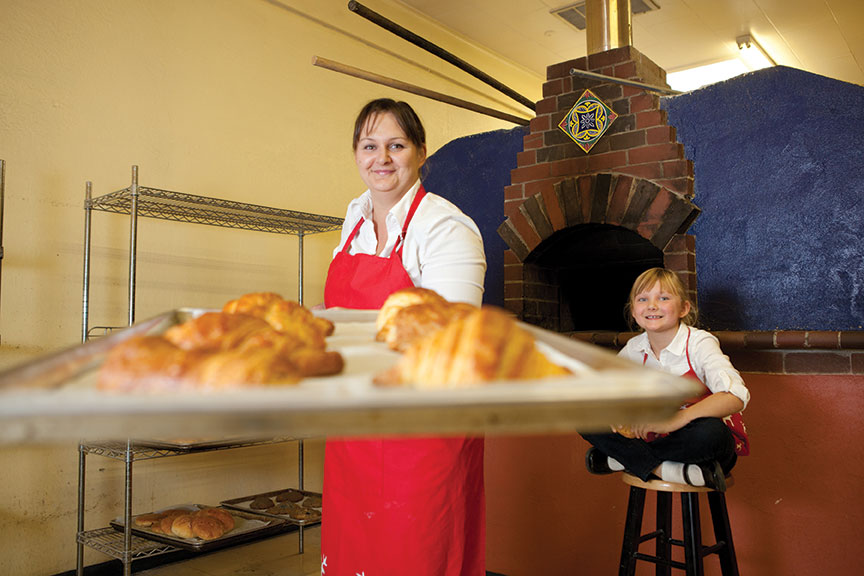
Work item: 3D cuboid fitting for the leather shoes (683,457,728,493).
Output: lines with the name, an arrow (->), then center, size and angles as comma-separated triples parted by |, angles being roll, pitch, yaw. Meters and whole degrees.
leather shoes -> 0.905, 0.620, 2.156 | 0.187, 0.076, 0.069 | 5, -4, 36

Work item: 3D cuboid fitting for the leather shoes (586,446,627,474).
leather shoes -> 0.623, 0.642, 2.391 | 0.179, 0.061, 0.070 | 14, -12, 16

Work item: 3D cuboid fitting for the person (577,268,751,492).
person -> 0.786, 0.290, 2.272 | 0.508, 0.769, 0.662 | -4, -6, 36
